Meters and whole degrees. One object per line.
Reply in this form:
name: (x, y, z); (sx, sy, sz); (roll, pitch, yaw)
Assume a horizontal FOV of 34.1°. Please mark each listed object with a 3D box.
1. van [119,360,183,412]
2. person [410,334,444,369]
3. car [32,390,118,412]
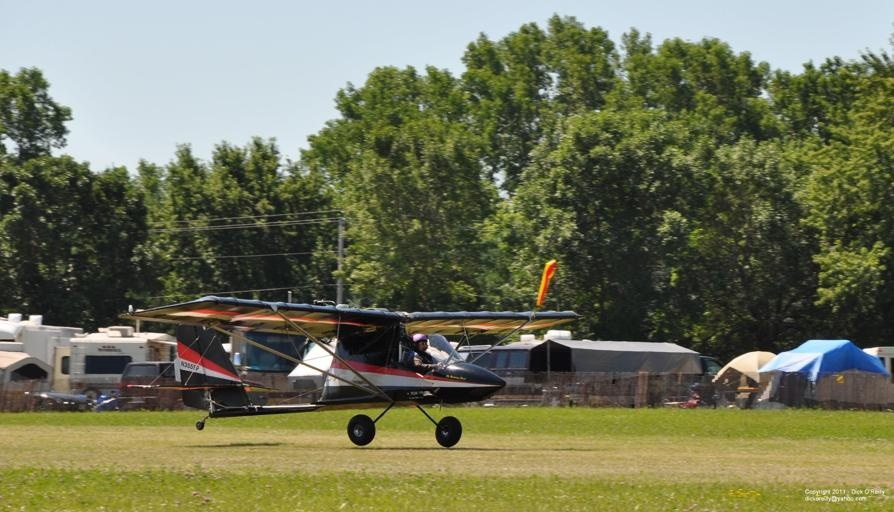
van: (-17.150, 7.638, 84.775); (4.067, 2.048, 4.996); (0, 1, 1)
person: (-1.022, 4.516, 67.991); (1.422, 1.597, 0.507); (1, -8, 5)
car: (-22.023, 8.386, 83.236); (6.861, 1.169, 1.331); (4, -4, -27)
